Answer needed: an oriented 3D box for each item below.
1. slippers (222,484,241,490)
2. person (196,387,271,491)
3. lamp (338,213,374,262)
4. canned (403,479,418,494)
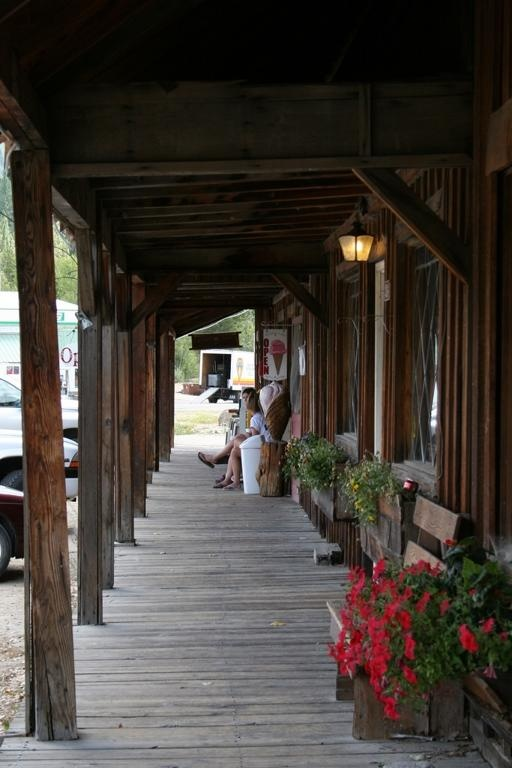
[{"bbox_3d":[-0.291,1.366,11.344,0.155,0.080,0.093,5,-7,-1],"label":"slippers"},{"bbox_3d":[-0.366,0.834,11.976,1.263,2.070,0.821,0,-3,8],"label":"person"},{"bbox_3d":[0.656,-0.952,5.533,0.217,0.402,0.256,0,5,5],"label":"lamp"},{"bbox_3d":[0.795,0.518,4.339,0.072,0.071,0.081,1,-3,11],"label":"canned"}]
